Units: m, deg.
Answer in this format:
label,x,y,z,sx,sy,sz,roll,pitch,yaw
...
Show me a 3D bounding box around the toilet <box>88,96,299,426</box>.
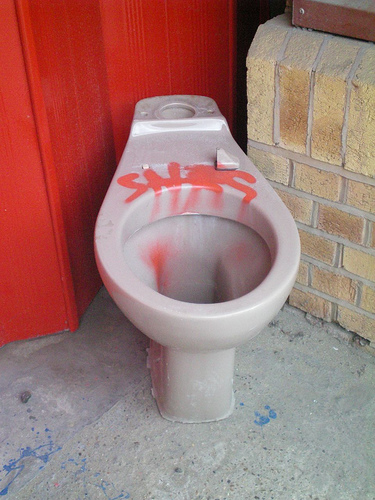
label,x,y,z,sx,sy,sz,roll,pitch,yaw
toilet,0.004,-0.084,1.064,0.414,0.559,0.783,-6,54,-6
